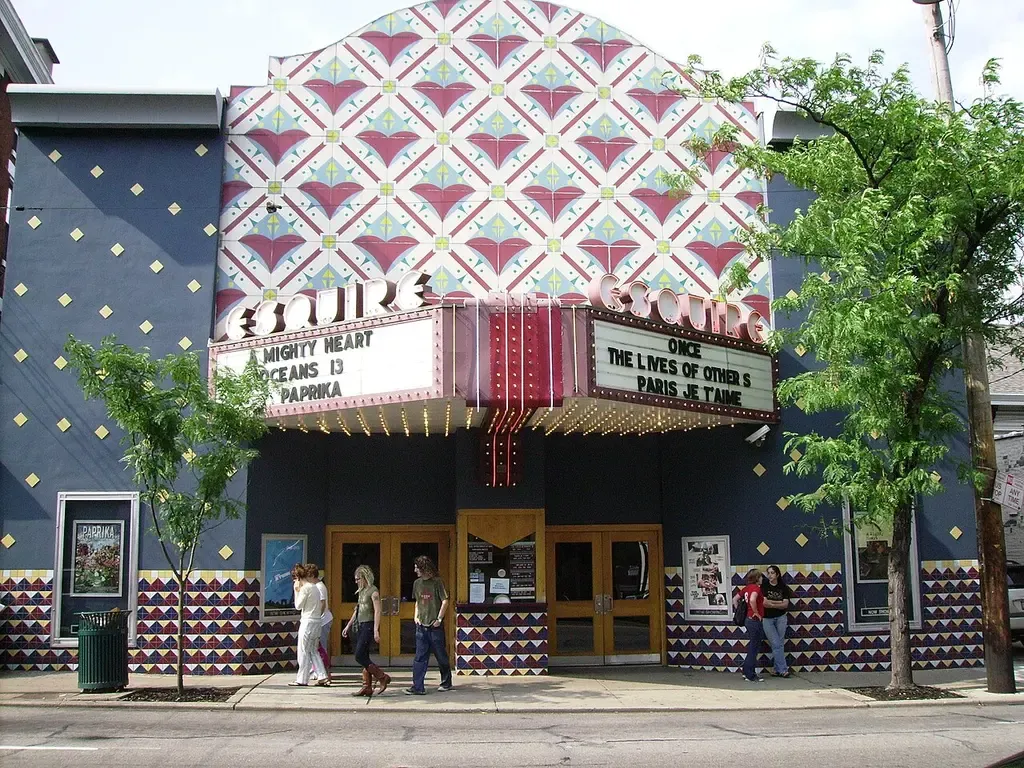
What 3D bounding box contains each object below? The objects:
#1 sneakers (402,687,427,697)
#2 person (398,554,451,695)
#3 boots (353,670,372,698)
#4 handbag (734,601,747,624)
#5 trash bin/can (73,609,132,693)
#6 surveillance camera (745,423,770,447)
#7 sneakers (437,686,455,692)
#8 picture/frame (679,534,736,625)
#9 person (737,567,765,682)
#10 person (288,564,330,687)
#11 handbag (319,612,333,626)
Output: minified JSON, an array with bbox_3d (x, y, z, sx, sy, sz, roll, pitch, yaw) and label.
[{"bbox_3d":[-1.783,5.713,20.481,0.392,0.175,0.152,18,-23,-26],"label":"sneakers"},{"bbox_3d":[-1.527,4.488,20.837,0.768,2.594,1.125,0,-13,-4],"label":"person"},{"bbox_3d":[-2.764,5.534,20.548,0.309,0.461,0.731,1,-14,-8],"label":"boots"},{"bbox_3d":[4.661,4.661,22.640,0.114,0.423,0.296,9,-8,-28],"label":"handbag"},{"bbox_3d":[-7.603,4.981,20.791,1.225,1.725,1.282,-1,-9,-2],"label":"trash bin/can"},{"bbox_3d":[5.336,1.082,24.074,0.407,0.122,0.469,-13,-30,-32],"label":"surveillance camera"},{"bbox_3d":[-1.244,5.736,20.884,0.285,0.125,0.096,23,-27,-37],"label":"sneakers"},{"bbox_3d":[4.275,4.258,23.993,1.645,2.635,0.136,-8,-12,42],"label":"picture/frame"},{"bbox_3d":[4.889,4.901,22.617,0.516,2.195,0.492,-4,-13,14],"label":"person"},{"bbox_3d":[-3.891,4.654,21.382,0.689,2.257,1.538,1,-13,-10],"label":"person"},{"bbox_3d":[-3.542,4.467,21.151,0.230,0.185,0.240,-1,-10,7],"label":"handbag"}]
